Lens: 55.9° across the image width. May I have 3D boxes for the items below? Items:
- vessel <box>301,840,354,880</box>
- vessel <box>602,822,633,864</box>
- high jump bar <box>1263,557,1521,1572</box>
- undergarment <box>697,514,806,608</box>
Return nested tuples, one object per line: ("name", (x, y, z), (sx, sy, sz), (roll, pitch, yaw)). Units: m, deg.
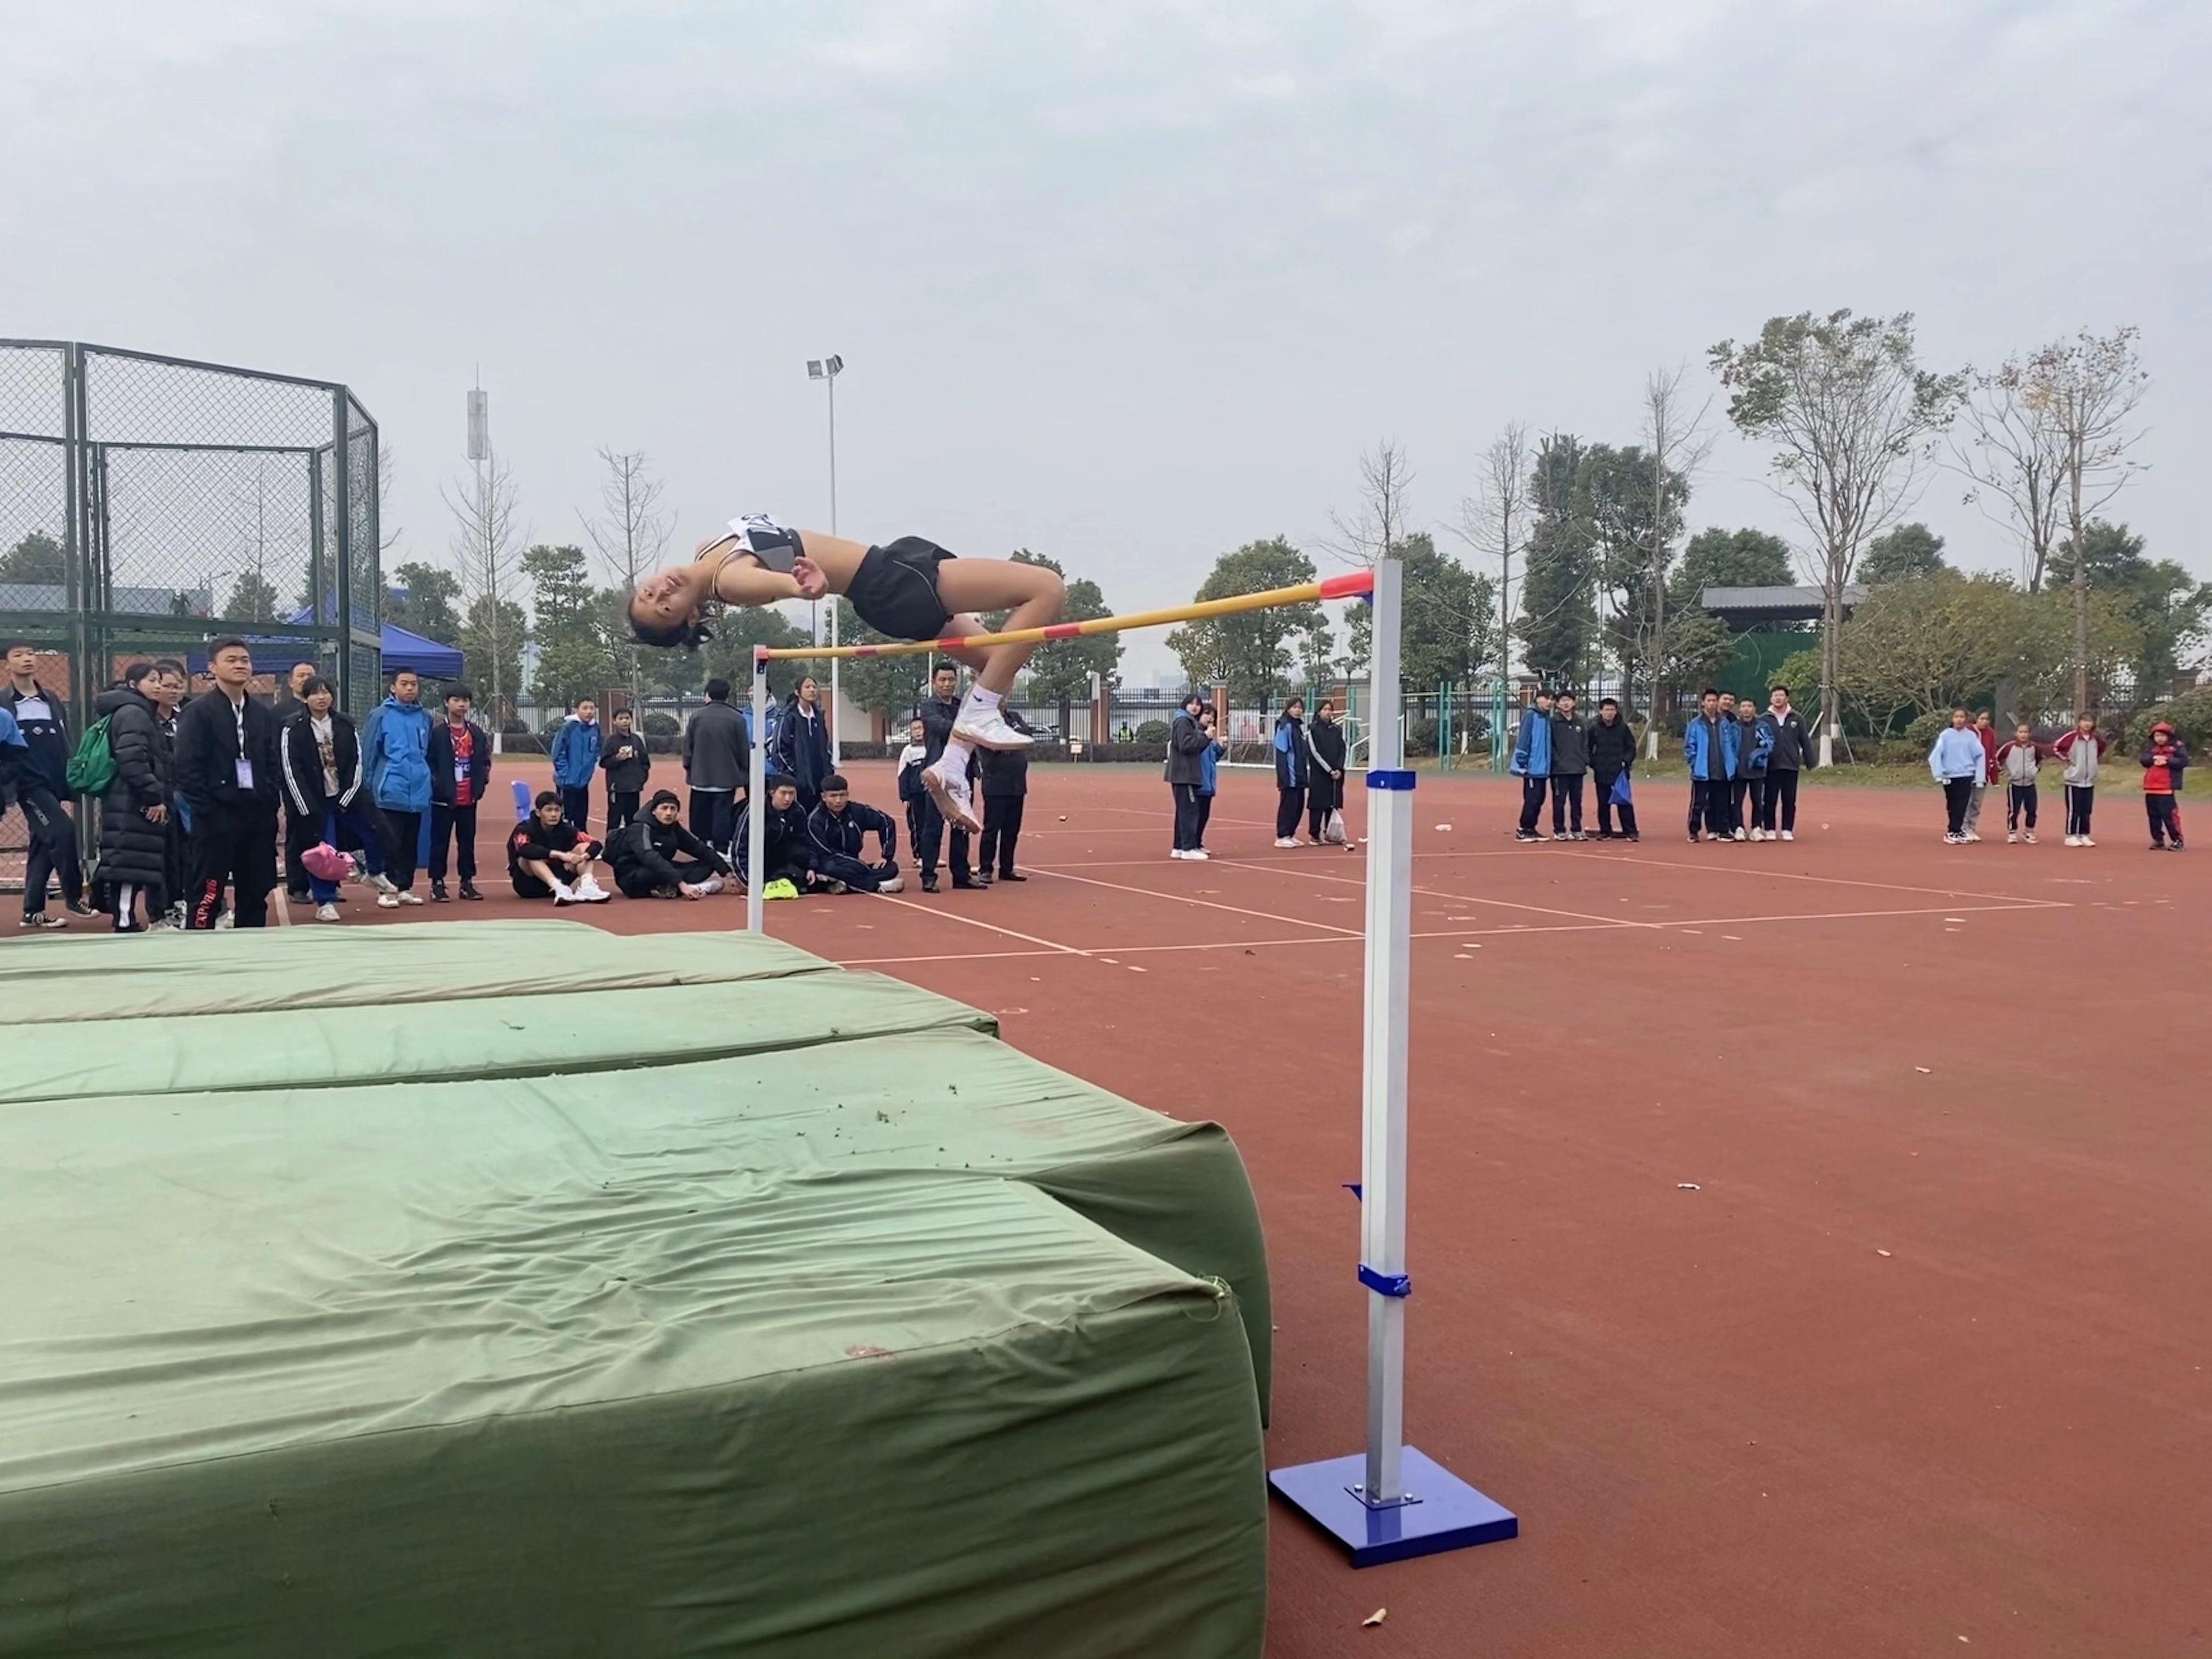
("vessel", (-4.409, 0.209, 11.722), (0.316, 0.225, 0.240), (-8, -6, 36))
("vessel", (-3.390, 0.115, 14.407), (0.142, 0.297, 0.205), (-6, -26, -1))
("high jump bar", (0.603, 0.481, 4.521), (0.476, 2.091, 0.574), (-3, 11, -16))
("undergarment", (-1.138, -0.833, 6.573), (0.405, 0.284, 0.250), (6, 12, 27))
